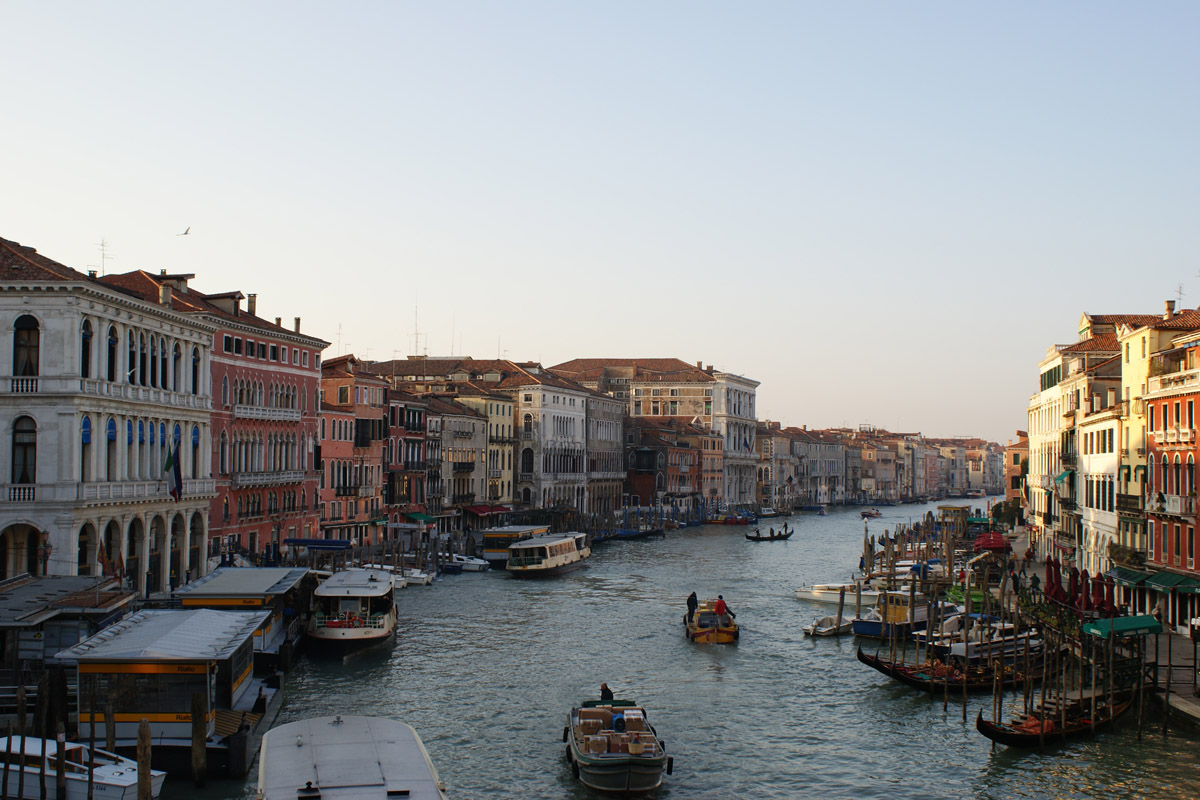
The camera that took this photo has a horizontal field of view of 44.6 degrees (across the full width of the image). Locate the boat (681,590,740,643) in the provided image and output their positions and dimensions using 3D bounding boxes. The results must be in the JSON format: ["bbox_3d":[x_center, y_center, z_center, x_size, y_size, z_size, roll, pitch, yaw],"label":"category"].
[{"bbox_3d":[5.986,11.972,80.074,2.805,2.556,4.508,-1,-4,3],"label":"boat"}]

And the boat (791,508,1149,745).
[{"bbox_3d":[19.256,11.758,70.066,10.669,6.381,23.948,-2,-4,8],"label":"boat"}]

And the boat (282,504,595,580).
[{"bbox_3d":[-11.139,11.838,126.040,20.211,5.523,67.362,-1,-4,1],"label":"boat"}]

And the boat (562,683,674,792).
[{"bbox_3d":[0.686,13.478,57.816,3.616,2.308,6.876,0,-1,-3],"label":"boat"}]
